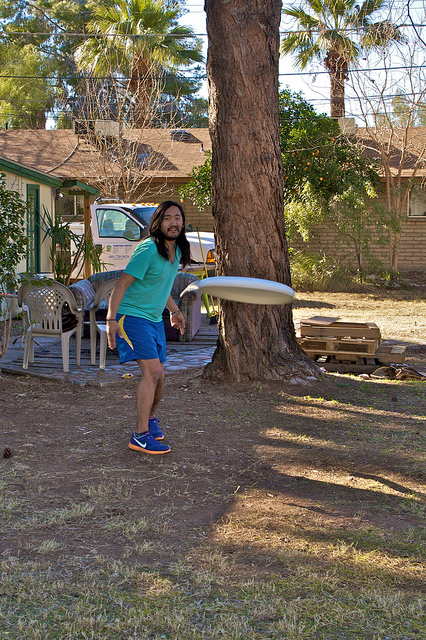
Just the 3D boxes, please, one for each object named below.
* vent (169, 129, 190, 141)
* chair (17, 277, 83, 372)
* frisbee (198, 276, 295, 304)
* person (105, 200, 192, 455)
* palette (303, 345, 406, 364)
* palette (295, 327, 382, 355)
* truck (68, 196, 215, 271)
[{"bbox_3d":[-1.170,-6.536,26.084,0.686,0.256,0.524,2,24,-6],"label":"vent"},{"bbox_3d":[-1.801,0.013,8.154,0.672,0.993,0.787,5,12,3],"label":"chair"},{"bbox_3d":[0.272,-0.223,5.572,0.689,0.196,0.637,4,3,6],"label":"frisbee"},{"bbox_3d":[-0.443,0.048,4.942,0.477,1.677,0.701,4,4,1],"label":"person"},{"bbox_3d":[1.826,0.412,9.021,1.059,0.205,0.564,4,3,17],"label":"palette"},{"bbox_3d":[1.493,0.239,9.078,1.195,0.269,1.006,0,5,18],"label":"palette"},{"bbox_3d":[-1.664,-1.657,14.303,3.113,1.663,1.915,-1,9,8],"label":"truck"}]
